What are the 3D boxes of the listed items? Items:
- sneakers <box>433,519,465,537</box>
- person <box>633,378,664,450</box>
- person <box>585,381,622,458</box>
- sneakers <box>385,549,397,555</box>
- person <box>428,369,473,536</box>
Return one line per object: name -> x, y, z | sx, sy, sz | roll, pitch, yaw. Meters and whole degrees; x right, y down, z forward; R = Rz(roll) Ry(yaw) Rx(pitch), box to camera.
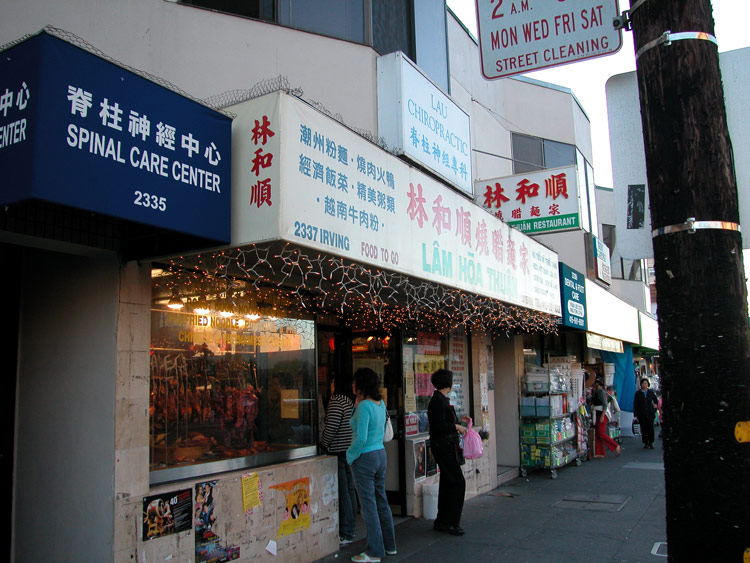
sneakers -> 0.872, 2.890, 7.495 | 0.361, 0.186, 0.135 | -7, -7, 25
person -> 6.749, 3.259, 15.791 | 0.539, 1.619, 1.563 | -5, -6, 22
person -> 5.176, 3.152, 14.351 | 0.517, 1.531, 1.530 | -5, -6, 20
sneakers -> 0.176, 2.855, 6.738 | 0.129, 0.066, 0.049 | -9, -7, 34
person -> 0.899, 2.038, 7.723 | 0.445, 1.936, 0.502 | -4, -6, 11
